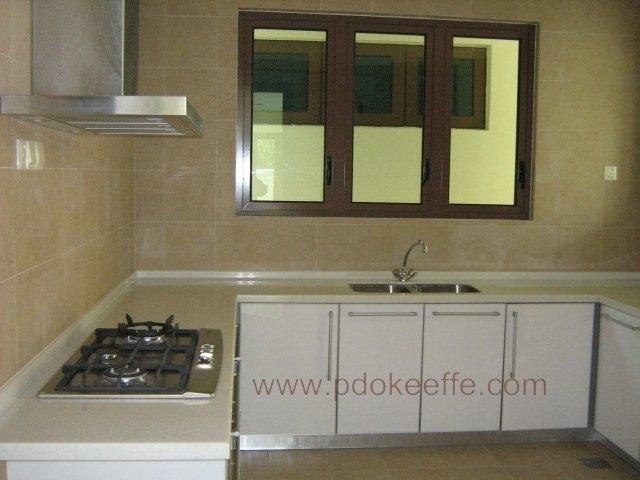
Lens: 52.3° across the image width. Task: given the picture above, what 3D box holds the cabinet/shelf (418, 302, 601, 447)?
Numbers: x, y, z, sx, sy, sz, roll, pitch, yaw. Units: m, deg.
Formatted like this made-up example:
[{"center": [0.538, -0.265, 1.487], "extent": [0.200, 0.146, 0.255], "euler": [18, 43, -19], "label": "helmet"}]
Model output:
[{"center": [1.299, 0.955, 4.409], "extent": [1.118, 0.636, 1.026], "euler": [-4, -89, 16], "label": "cabinet/shelf"}]

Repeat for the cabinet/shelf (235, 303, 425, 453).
[{"center": [0.025, 0.814, 3.987], "extent": [0.867, 0.350, 0.716], "euler": [0, -91, -4], "label": "cabinet/shelf"}]

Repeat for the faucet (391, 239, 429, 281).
[{"center": [0.612, 0.151, 4.412], "extent": [0.227, 0.158, 0.279], "euler": [-1, -100, 36], "label": "faucet"}]
